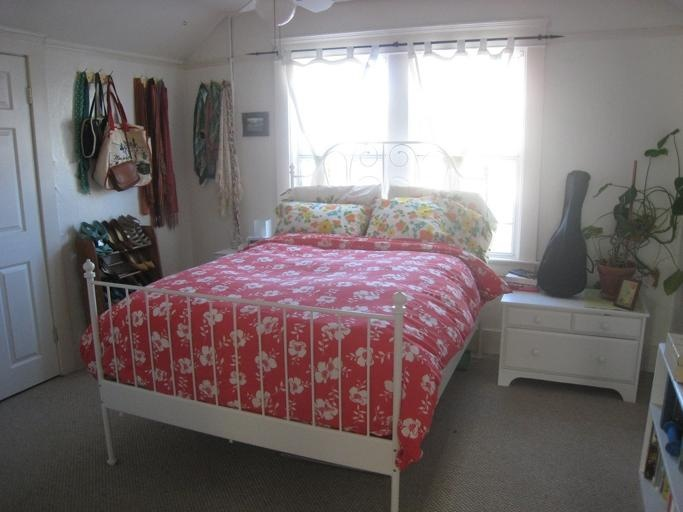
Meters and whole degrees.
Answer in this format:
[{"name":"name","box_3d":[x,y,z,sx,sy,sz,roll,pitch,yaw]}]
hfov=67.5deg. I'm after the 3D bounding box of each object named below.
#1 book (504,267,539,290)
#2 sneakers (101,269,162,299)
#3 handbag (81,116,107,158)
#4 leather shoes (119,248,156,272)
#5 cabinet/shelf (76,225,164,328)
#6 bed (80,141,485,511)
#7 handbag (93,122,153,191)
[{"name":"book","box_3d":[1.347,0.173,3.853,0.224,0.097,0.252,4,14,13]},{"name":"sneakers","box_3d":[-1.731,0.207,4.278,0.277,0.081,0.212,13,16,28]},{"name":"handbag","box_3d":[-1.874,-0.897,3.886,0.118,0.354,0.246,14,7,-1]},{"name":"leather shoes","box_3d":[-1.690,0.043,4.317,0.108,0.159,0.347,-13,35,-37]},{"name":"cabinet/shelf","box_3d":[-1.577,0.129,3.584,0.197,0.768,0.652,-1,10,11]},{"name":"bed","box_3d":[-0.141,0.275,3.238,1.197,1.253,1.823,4,13,20]},{"name":"handbag","box_3d":[-1.737,-0.790,4.052,0.218,0.668,0.459,11,14,27]}]
